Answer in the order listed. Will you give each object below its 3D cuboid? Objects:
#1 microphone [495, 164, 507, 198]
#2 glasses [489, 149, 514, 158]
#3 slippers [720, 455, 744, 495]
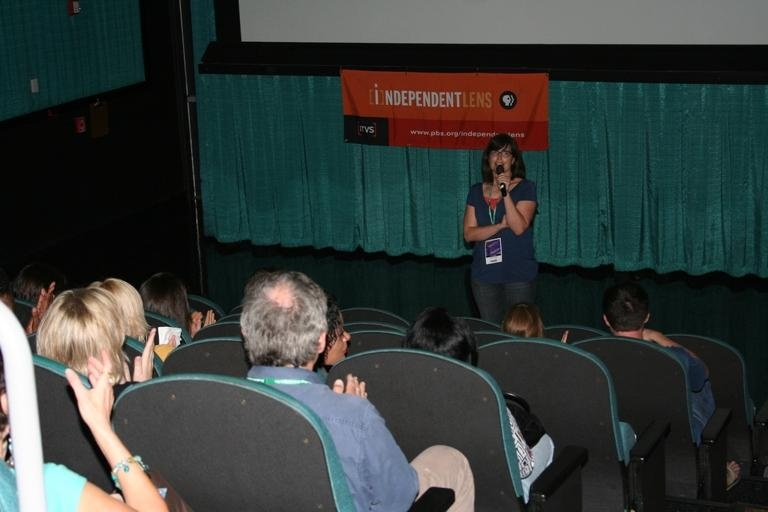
[{"bbox_3d":[0.813,-0.498,4.487,0.055,0.232,0.060,-6,0,23],"label":"microphone"},{"bbox_3d":[0.803,-0.678,4.440,0.152,0.056,0.041,2,-7,6],"label":"glasses"},{"bbox_3d":[1.724,1.079,3.235,0.068,0.231,0.103,9,-43,30],"label":"slippers"}]
